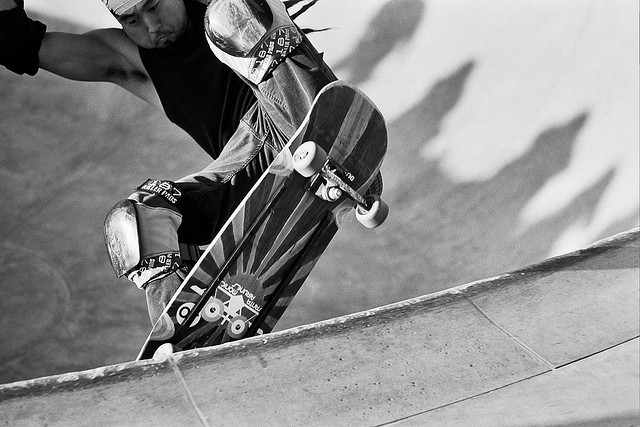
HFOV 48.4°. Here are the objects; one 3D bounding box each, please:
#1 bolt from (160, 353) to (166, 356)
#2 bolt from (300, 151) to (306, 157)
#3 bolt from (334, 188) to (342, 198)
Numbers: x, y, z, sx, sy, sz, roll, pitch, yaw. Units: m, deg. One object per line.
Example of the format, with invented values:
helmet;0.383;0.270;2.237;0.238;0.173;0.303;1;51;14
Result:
bolt;-0.709;0.629;3.193;0.011;0.040;0.006;16;67;-31
bolt;-0.083;-0.277;3.320;0.026;0.025;0.021;27;37;15
bolt;0.081;-0.100;3.433;0.025;0.041;0.007;-8;19;-20
